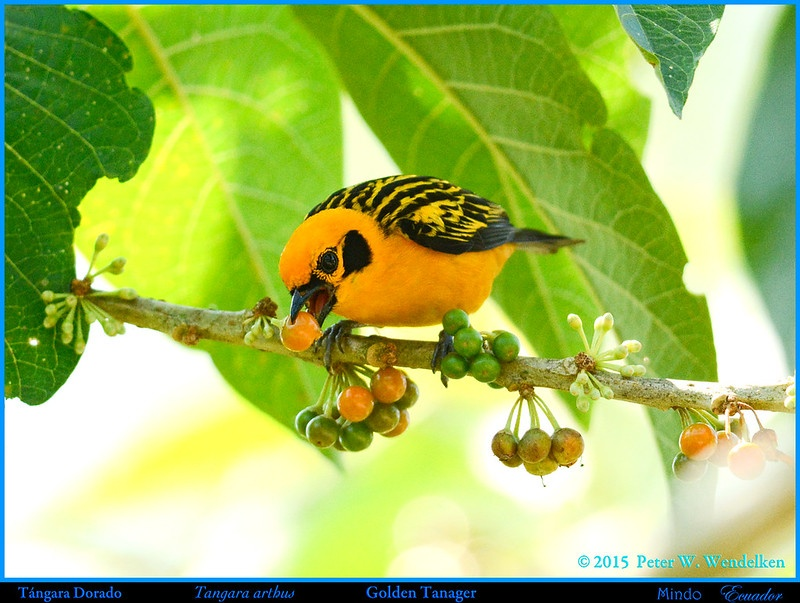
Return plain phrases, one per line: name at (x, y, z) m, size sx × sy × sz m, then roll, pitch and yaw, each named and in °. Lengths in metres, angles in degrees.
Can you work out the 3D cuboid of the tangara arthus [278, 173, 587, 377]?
tangara arthus at (-0.028, -0.287, 4.982) m, size 1.038 × 1.592 × 1.697 m, roll 8°, pitch 14°, yaw 36°
